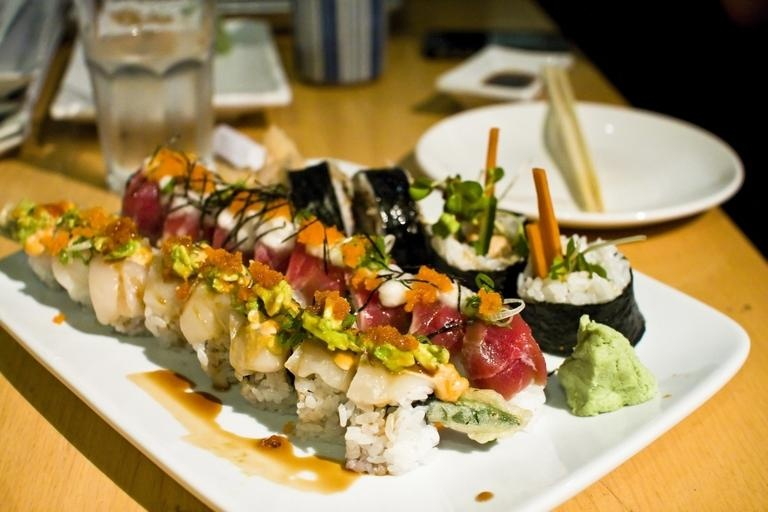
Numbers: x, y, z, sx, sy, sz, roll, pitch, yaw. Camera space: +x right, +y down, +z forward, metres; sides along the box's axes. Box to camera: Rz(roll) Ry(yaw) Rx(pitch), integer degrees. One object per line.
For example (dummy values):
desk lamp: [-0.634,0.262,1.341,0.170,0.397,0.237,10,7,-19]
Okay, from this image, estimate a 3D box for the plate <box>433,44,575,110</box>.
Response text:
plate: [0.738,-1.167,4.303,0.564,0.171,0.560,13,39,24]
